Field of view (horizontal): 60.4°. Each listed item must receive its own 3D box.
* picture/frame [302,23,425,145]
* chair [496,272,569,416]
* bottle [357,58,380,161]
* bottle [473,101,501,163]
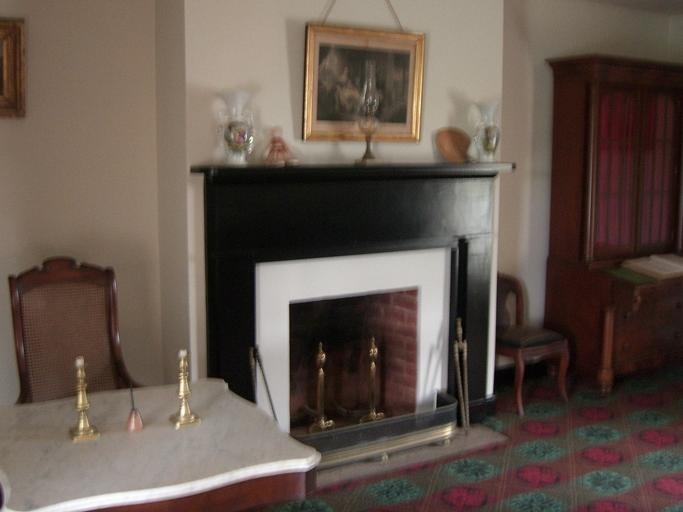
[{"bbox_3d":[0.112,-1.119,3.726,0.765,0.693,0.063,-2,11,-25],"label":"picture/frame"},{"bbox_3d":[1.587,0.691,4.838,0.622,0.970,0.930,4,12,17],"label":"chair"},{"bbox_3d":[0.175,-0.926,3.725,0.140,0.629,0.226,1,11,4],"label":"bottle"},{"bbox_3d":[1.048,-0.883,4.145,0.238,0.415,0.148,-3,12,-14],"label":"bottle"}]
